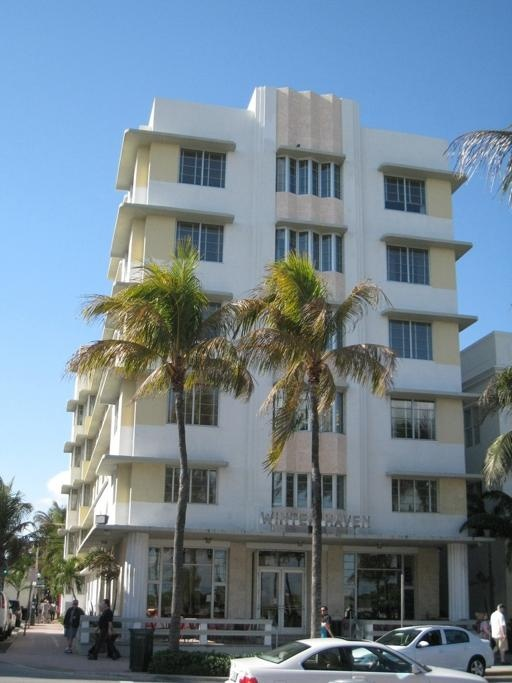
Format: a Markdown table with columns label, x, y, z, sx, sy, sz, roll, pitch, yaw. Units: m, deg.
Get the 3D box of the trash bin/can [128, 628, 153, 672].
| label | x | y | z | sx | sy | sz | roll | pitch | yaw |
| --- | --- | --- | --- | --- | --- | --- | --- | --- | --- |
| trash bin/can | -2.722 | 7.315 | 17.563 | 0.513 | 0.917 | 0.395 | 3 | -18 | -9 |
